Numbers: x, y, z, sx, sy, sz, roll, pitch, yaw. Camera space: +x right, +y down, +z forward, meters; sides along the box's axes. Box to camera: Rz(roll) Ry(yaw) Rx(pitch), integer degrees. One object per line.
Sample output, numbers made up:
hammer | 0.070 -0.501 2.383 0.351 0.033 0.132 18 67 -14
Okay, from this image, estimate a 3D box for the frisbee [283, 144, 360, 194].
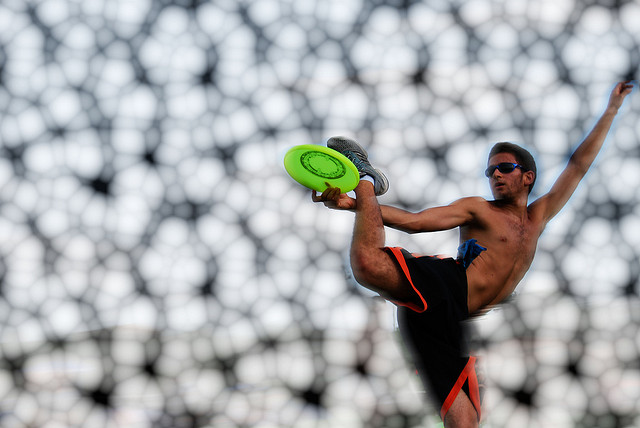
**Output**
frisbee | 0.039 -0.465 10.890 0.566 0.610 0.138 -19 42 43
